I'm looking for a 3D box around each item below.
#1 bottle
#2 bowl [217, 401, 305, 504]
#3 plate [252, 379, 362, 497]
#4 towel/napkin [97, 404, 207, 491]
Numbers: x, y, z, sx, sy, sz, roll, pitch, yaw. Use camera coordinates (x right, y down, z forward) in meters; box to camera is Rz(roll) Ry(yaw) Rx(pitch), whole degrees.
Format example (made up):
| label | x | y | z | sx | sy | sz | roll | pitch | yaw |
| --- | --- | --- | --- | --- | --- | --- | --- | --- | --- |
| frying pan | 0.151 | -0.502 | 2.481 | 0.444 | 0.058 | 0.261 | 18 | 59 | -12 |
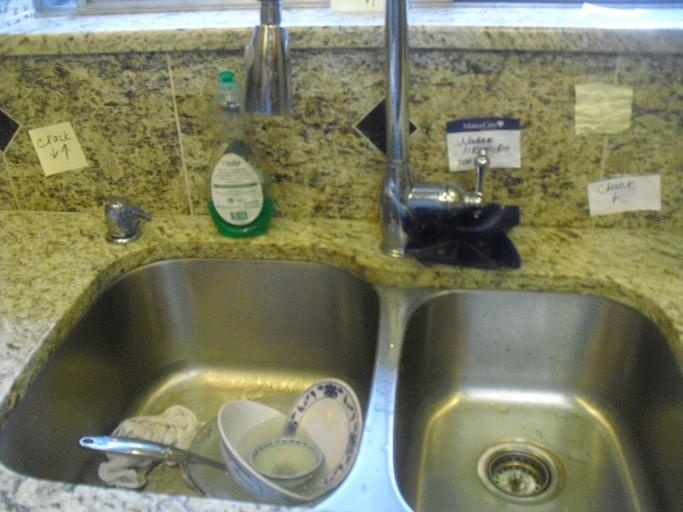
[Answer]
| label | x | y | z | sx | sy | sz | roll | pitch | yaw |
| --- | --- | --- | --- | --- | --- | --- | --- | --- | --- |
| bottle | -0.209 | -0.188 | 1.109 | 0.108 | 0.342 | 0.048 | -4 | 8 | -2 |
| bowl | -0.134 | 0.308 | 0.910 | 0.116 | 0.101 | 0.228 | -7 | 21 | -14 |
| plate | -0.059 | 0.317 | 0.970 | 0.142 | 0.060 | 0.193 | 25 | 53 | 22 |
| towel/napkin | -0.341 | 0.325 | 1.012 | 0.132 | 0.087 | 0.185 | 6 | 21 | 19 |
